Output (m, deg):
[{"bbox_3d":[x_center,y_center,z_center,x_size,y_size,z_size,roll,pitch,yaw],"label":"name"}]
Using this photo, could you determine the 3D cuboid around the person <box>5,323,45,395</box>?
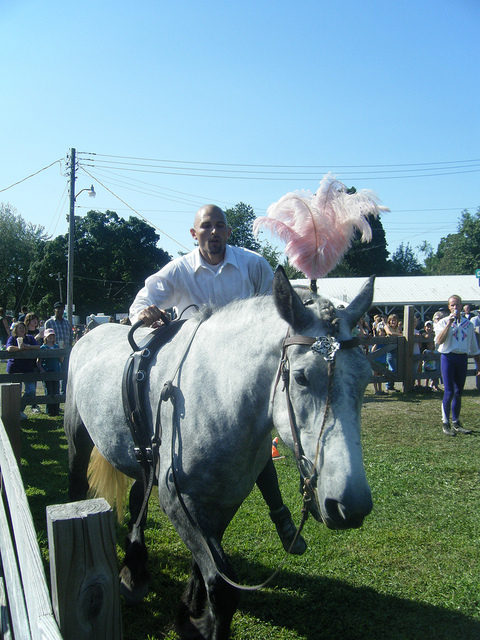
[{"bbox_3d":[-3.154,0.565,8.966,0.501,1.034,1.458,-2,4,-20],"label":"person"}]

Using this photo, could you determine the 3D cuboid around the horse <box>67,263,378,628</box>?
[{"bbox_3d":[-0.166,0.676,3.019,0.613,1.843,2.128,-3,4,-36],"label":"horse"}]

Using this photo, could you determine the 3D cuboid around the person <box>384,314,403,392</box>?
[{"bbox_3d":[2.914,0.637,11.564,0.322,1.420,1.398,0,4,13],"label":"person"}]

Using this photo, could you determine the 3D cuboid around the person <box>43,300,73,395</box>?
[{"bbox_3d":[-2.955,0.498,10.047,0.474,1.592,0.443,2,-1,-9],"label":"person"}]

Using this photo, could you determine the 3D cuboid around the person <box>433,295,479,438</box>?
[{"bbox_3d":[2.764,0.540,7.738,0.547,1.685,1.540,1,4,17],"label":"person"}]
